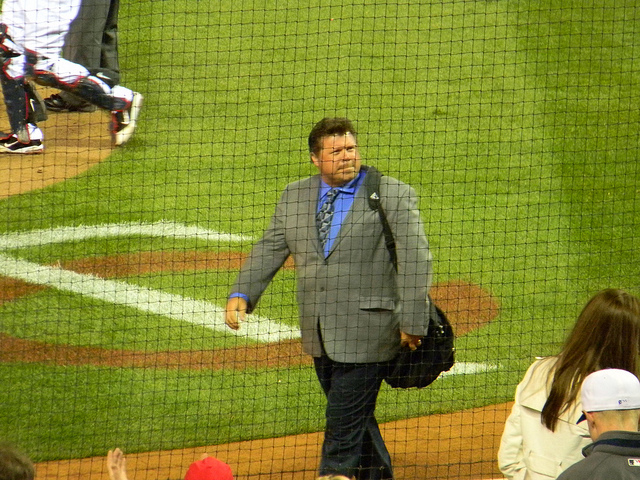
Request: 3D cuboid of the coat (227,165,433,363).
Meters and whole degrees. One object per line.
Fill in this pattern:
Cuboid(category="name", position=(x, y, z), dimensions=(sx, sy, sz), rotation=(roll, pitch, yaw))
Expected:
Cuboid(category="coat", position=(0.121, 0.212, 8.299), dimensions=(1.898, 1.590, 0.957), rotation=(0, 9, 18))
